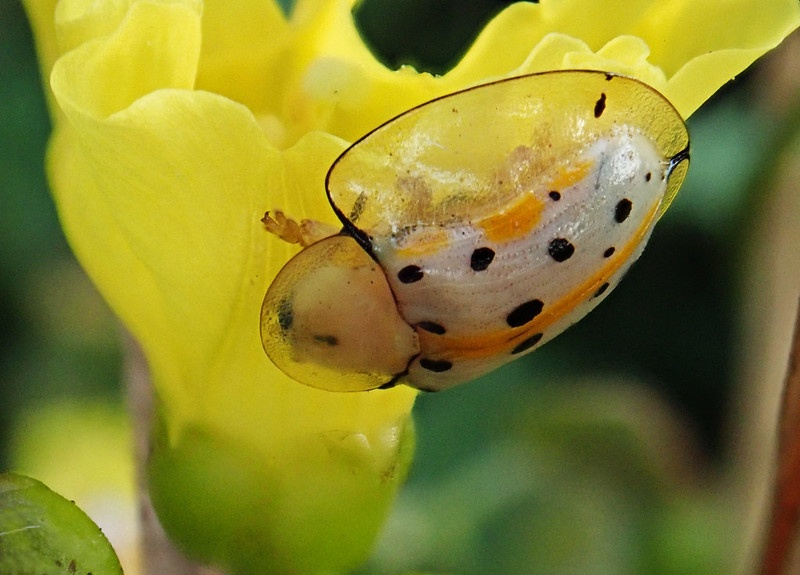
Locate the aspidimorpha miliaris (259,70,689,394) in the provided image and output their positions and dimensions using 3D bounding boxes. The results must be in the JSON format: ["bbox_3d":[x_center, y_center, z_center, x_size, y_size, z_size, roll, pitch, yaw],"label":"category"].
[{"bbox_3d":[0.052,-0.034,0.801,0.277,0.249,0.084,9,8,7],"label":"aspidimorpha miliaris"}]
